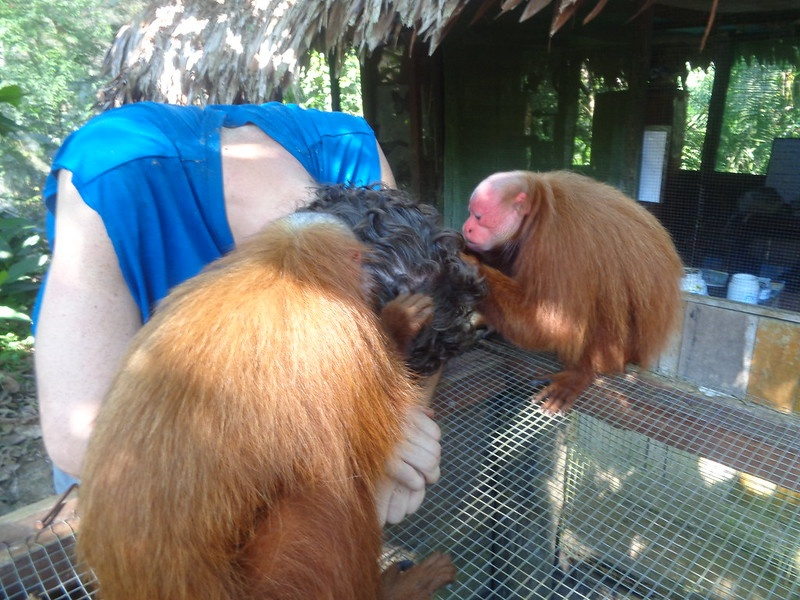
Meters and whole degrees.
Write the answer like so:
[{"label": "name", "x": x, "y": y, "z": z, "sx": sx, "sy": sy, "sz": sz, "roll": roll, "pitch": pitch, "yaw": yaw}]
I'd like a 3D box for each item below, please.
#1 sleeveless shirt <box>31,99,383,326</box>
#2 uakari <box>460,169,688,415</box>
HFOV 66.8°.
[{"label": "sleeveless shirt", "x": -0.356, "y": -0.170, "z": 1.180, "sx": 0.572, "sy": 0.513, "sz": 0.294, "roll": -14, "pitch": 11, "yaw": -34}, {"label": "uakari", "x": 0.451, "y": -0.077, "z": 1.811, "sx": 0.653, "sy": 0.567, "sz": 0.623, "roll": 5, "pitch": 20, "yaw": 20}]
